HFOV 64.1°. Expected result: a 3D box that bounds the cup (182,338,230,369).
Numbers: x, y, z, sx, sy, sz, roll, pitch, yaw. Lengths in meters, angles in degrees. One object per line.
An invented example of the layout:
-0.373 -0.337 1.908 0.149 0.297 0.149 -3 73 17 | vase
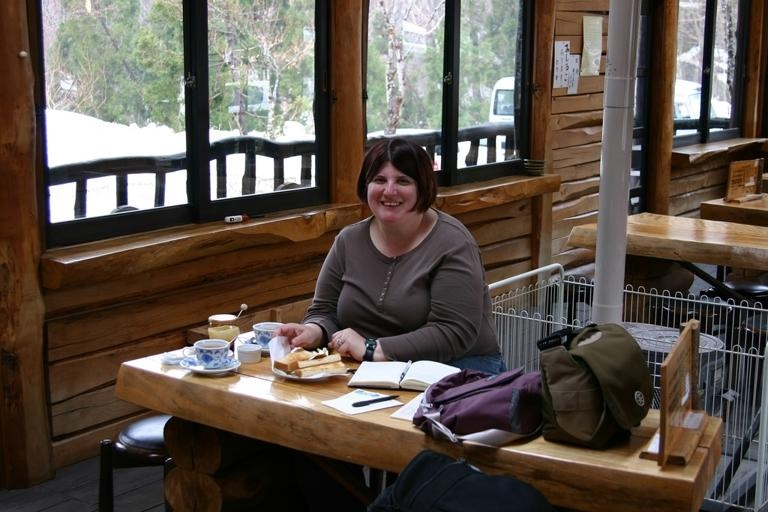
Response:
-0.709 0.397 2.532 0.126 0.076 0.113 1 5 -19 | cup

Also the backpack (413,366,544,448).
0.344 0.517 2.117 0.299 0.112 0.291 -6 3 11 | backpack

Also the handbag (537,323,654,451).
0.742 0.434 2.121 0.317 0.352 0.380 -6 3 42 | handbag

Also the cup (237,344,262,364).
-0.574 0.407 2.621 0.084 0.049 0.085 1 5 0 | cup

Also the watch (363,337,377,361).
-0.060 0.407 2.652 0.052 0.081 0.083 14 37 11 | watch

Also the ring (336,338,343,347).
-0.190 0.377 2.675 0.036 0.033 0.011 3 -6 43 | ring

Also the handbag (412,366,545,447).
0.334 0.525 2.120 0.298 0.111 0.292 -5 3 12 | handbag

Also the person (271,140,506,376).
0.009 0.064 3.014 1.289 1.231 1.073 -4 6 -13 | person

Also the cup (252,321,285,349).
-0.522 0.357 2.760 0.110 0.067 0.107 0 10 0 | cup
